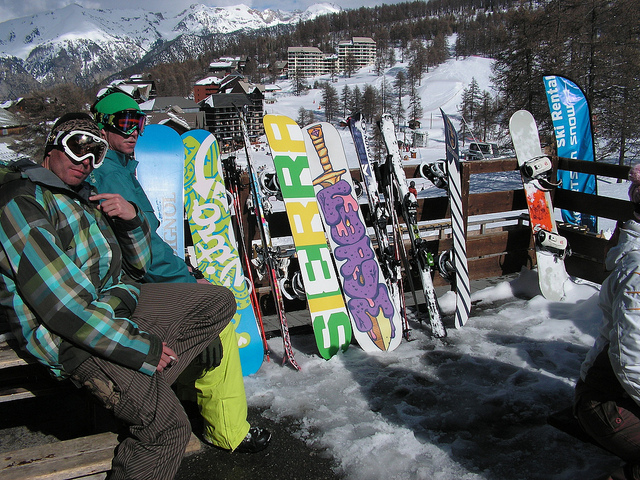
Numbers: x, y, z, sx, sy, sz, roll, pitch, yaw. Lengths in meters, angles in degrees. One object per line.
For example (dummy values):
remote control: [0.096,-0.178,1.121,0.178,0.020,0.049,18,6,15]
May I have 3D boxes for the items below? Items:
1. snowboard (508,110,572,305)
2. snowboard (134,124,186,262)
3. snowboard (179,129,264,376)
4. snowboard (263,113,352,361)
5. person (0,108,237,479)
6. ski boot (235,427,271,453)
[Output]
snowboard: [2.713,-0.347,5.871,0.617,2.850,0.542,-5,-5,-13]
snowboard: [-1.454,-0.453,4.321,0.424,1.152,0.563,-7,17,-2]
snowboard: [-1.013,-0.034,4.394,0.538,0.398,2.794,-9,60,-16]
snowboard: [-0.104,-0.006,4.564,0.583,2.998,0.190,-8,-9,-34]
person: [-1.104,0.264,2.518,0.787,1.836,0.804,-1,18,17]
ski boot: [-0.461,1.370,3.242,0.223,0.103,0.118,-6,17,-11]
